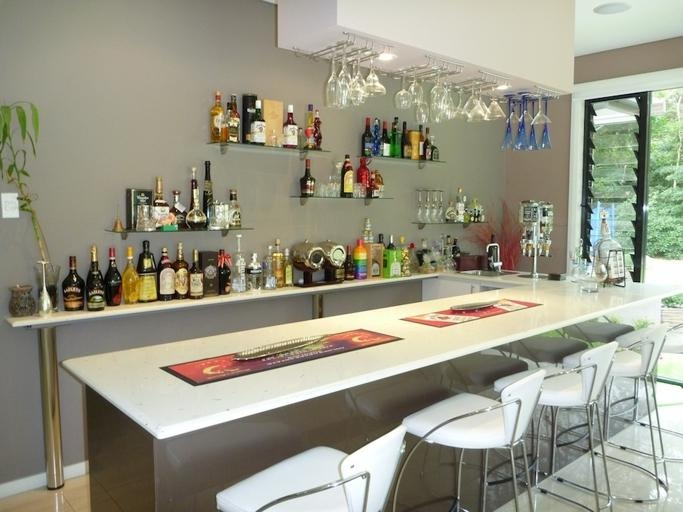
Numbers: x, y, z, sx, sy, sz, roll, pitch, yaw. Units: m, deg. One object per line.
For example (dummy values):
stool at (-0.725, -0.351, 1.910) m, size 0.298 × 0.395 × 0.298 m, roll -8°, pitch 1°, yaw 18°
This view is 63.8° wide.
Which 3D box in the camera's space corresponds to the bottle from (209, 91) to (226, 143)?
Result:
bottle at (-0.883, -0.985, 3.907) m, size 0.110 × 0.345 × 0.166 m, roll -1°, pitch 14°, yaw -14°

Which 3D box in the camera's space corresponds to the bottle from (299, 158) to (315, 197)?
bottle at (-0.266, -0.622, 4.352) m, size 0.122 × 0.297 × 0.204 m, roll 2°, pitch 14°, yaw -3°

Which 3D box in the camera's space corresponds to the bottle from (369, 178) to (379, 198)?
bottle at (0.279, -0.594, 4.723) m, size 0.096 × 0.152 × 0.076 m, roll 4°, pitch 14°, yaw 4°

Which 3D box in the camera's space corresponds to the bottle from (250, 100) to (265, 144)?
bottle at (-0.614, -0.973, 4.001) m, size 0.101 × 0.304 × 0.159 m, roll 0°, pitch 14°, yaw -10°

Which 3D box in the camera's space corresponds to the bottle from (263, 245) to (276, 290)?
bottle at (-0.546, 0.074, 4.167) m, size 0.091 × 0.271 × 0.259 m, roll 1°, pitch 14°, yaw -8°

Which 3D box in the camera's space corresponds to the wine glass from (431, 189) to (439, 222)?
wine glass at (0.908, -0.487, 5.309) m, size 0.081 × 0.290 × 0.040 m, roll 0°, pitch -2°, yaw -7°

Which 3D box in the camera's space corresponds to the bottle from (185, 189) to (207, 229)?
bottle at (-1.006, -0.336, 3.814) m, size 0.136 × 0.263 × 0.247 m, roll 0°, pitch 14°, yaw -13°

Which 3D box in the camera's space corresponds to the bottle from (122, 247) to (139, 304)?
bottle at (-1.355, 0.122, 3.522) m, size 0.102 × 0.360 × 0.112 m, roll -6°, pitch 16°, yaw -30°

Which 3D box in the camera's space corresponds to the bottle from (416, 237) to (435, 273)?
bottle at (0.797, -0.007, 5.122) m, size 0.200 × 0.254 × 0.279 m, roll 5°, pitch 14°, yaw 10°

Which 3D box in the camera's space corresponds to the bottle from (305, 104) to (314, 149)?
bottle at (-0.250, -1.022, 4.315) m, size 0.069 × 0.332 × 0.232 m, roll 2°, pitch 14°, yaw -4°

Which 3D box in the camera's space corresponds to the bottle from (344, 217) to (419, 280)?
bottle at (0.327, -0.062, 4.716) m, size 0.628 × 0.476 × 0.359 m, roll 0°, pitch 14°, yaw -14°

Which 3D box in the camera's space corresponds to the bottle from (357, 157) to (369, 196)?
bottle at (0.185, -0.688, 4.706) m, size 0.111 × 0.316 × 0.208 m, roll 5°, pitch 14°, yaw 10°

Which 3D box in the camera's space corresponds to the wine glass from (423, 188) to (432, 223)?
wine glass at (0.826, -0.482, 5.253) m, size 0.056 × 0.306 × 0.043 m, roll 1°, pitch -1°, yaw -11°

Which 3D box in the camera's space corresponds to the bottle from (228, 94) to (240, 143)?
bottle at (-0.769, -0.989, 3.955) m, size 0.072 × 0.326 × 0.234 m, roll 2°, pitch 14°, yaw -4°

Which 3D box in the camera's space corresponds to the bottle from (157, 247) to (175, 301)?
bottle at (-1.168, 0.105, 3.656) m, size 0.112 × 0.329 × 0.189 m, roll -2°, pitch 15°, yaw -19°

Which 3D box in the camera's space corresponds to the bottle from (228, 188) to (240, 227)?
bottle at (-0.774, -0.354, 4.002) m, size 0.083 × 0.267 × 0.184 m, roll 0°, pitch 14°, yaw -12°

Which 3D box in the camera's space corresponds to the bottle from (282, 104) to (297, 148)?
bottle at (-0.389, -0.998, 4.210) m, size 0.110 × 0.309 × 0.189 m, roll 1°, pitch 14°, yaw -6°

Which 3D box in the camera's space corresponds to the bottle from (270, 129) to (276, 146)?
bottle at (-0.507, -0.896, 4.140) m, size 0.041 × 0.119 × 0.099 m, roll 1°, pitch 14°, yaw -8°

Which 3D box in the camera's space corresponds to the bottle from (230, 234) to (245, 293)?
bottle at (-0.750, 0.045, 4.008) m, size 0.096 × 0.375 × 0.265 m, roll 0°, pitch 14°, yaw -12°

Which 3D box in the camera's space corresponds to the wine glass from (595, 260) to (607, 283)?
wine glass at (1.909, 0.115, 4.045) m, size 0.101 × 0.156 × 0.061 m, roll 10°, pitch 16°, yaw 27°

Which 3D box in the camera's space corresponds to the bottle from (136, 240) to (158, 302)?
bottle at (-1.278, 0.081, 3.609) m, size 0.126 × 0.380 × 0.238 m, roll -3°, pitch 15°, yaw -20°

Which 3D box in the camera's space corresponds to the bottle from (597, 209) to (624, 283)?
bottle at (2.012, -0.059, 4.073) m, size 0.224 × 0.530 × 0.210 m, roll 3°, pitch 14°, yaw -1°

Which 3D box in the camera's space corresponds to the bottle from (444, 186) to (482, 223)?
bottle at (1.202, -0.513, 5.506) m, size 0.387 × 0.357 × 0.146 m, roll 0°, pitch 1°, yaw -38°

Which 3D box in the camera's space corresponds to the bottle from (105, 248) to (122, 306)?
bottle at (-1.443, 0.128, 3.472) m, size 0.121 × 0.347 × 0.116 m, roll 3°, pitch 14°, yaw -1°

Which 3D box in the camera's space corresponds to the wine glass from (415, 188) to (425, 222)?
wine glass at (0.750, -0.482, 5.202) m, size 0.096 × 0.291 × 0.040 m, roll -1°, pitch 5°, yaw -16°

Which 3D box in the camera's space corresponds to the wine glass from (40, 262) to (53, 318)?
wine glass at (-1.745, 0.187, 3.230) m, size 0.070 × 0.278 × 0.142 m, roll -4°, pitch 15°, yaw -25°

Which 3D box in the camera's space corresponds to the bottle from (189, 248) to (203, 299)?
bottle at (-0.990, 0.103, 3.749) m, size 0.093 × 0.312 × 0.210 m, roll -1°, pitch 14°, yaw -13°

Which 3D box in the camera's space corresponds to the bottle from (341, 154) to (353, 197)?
bottle at (0.052, -0.669, 4.556) m, size 0.110 × 0.335 × 0.165 m, roll 3°, pitch 14°, yaw 1°

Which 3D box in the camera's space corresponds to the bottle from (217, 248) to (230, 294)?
bottle at (-0.831, 0.109, 3.870) m, size 0.082 × 0.290 × 0.125 m, roll 0°, pitch 14°, yaw -12°

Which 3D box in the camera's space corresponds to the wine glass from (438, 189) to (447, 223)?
wine glass at (0.985, -0.505, 5.385) m, size 0.083 × 0.284 × 0.178 m, roll 5°, pitch 14°, yaw 10°

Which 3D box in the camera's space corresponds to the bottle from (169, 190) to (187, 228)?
bottle at (-1.118, -0.325, 3.764) m, size 0.109 × 0.238 × 0.181 m, roll -1°, pitch 15°, yaw -16°

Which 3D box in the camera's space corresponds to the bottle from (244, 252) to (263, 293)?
bottle at (-0.644, 0.092, 4.078) m, size 0.122 × 0.262 × 0.279 m, roll 1°, pitch 14°, yaw -8°

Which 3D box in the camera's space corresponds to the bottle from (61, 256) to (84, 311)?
bottle at (-1.630, 0.157, 3.364) m, size 0.131 × 0.316 × 0.168 m, roll 5°, pitch 14°, yaw 8°

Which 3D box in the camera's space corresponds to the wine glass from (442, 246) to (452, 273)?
wine glass at (1.011, 0.018, 5.194) m, size 0.115 × 0.192 × 0.172 m, roll 6°, pitch 14°, yaw 13°

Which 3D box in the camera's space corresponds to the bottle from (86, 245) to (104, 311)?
bottle at (-1.543, 0.125, 3.427) m, size 0.116 × 0.378 × 0.305 m, roll -4°, pitch 16°, yaw -25°

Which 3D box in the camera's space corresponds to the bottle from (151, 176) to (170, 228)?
bottle at (-1.211, -0.363, 3.674) m, size 0.110 × 0.334 × 0.198 m, roll -2°, pitch 15°, yaw -17°

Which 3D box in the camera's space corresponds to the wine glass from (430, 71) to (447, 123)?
wine glass at (0.602, -0.957, 3.406) m, size 0.093 × 0.222 × 0.194 m, roll 5°, pitch 14°, yaw 9°
